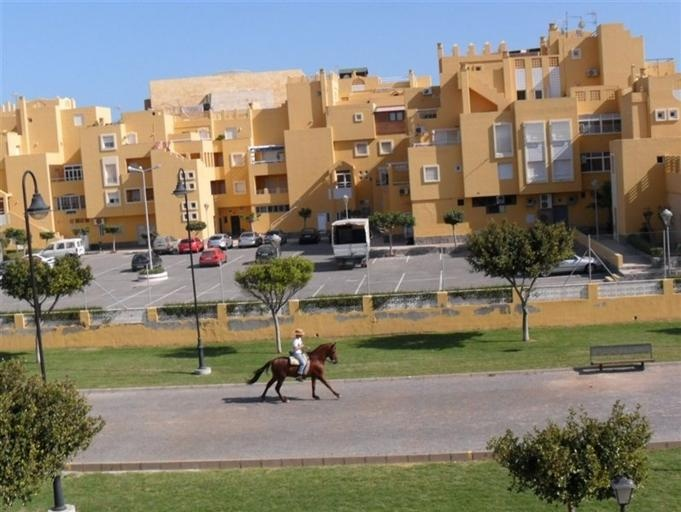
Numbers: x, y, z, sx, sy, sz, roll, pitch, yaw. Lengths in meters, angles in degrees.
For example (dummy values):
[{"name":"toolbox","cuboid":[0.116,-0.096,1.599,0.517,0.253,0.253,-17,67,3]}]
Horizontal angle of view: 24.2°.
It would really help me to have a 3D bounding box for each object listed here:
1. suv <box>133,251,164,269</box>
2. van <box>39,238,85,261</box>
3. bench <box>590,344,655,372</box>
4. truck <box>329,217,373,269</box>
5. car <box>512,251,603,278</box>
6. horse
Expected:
[{"name":"suv","cuboid":[-14.292,0.335,115.460,1.116,0.901,1.876,0,12,4]},{"name":"van","cuboid":[-20.574,-0.552,117.852,3.019,1.515,1.731,1,1,-7]},{"name":"bench","cuboid":[14.953,5.309,84.836,3.272,1.340,1.999,-4,1,7]},{"name":"truck","cuboid":[0.728,-0.942,111.222,2.463,3.307,1.767,-4,1,-5]},{"name":"car","cuboid":[14.921,0.817,103.211,4.006,1.195,1.952,-4,6,7]},{"name":"horse","cuboid":[-2.448,6.079,82.829,4.834,3.080,1.127,-1,1,8]}]
